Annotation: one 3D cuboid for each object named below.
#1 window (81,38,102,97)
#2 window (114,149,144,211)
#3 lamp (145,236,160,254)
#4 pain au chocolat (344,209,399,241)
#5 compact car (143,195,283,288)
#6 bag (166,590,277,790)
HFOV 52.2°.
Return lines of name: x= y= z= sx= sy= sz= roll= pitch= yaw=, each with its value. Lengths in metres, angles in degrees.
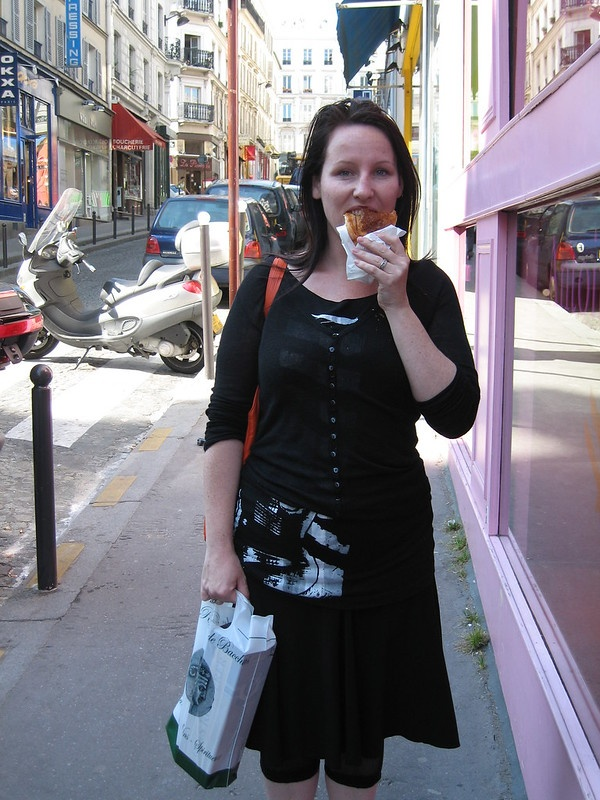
window: x=-11.488 y=-18.401 z=33.754 sx=0.314 sy=2.264 sz=2.395 roll=-12 pitch=33 yaw=-32
window: x=-11.873 y=-14.654 z=42.333 sx=1.436 sy=3.888 sz=4.112 roll=6 pitch=18 yaw=2
lamp: x=-2.950 y=-3.120 z=12.411 sx=0.228 sy=0.195 sz=0.385 roll=-1 pitch=9 yaw=-10
pain au chocolat: x=0.121 y=-0.299 z=1.053 sx=0.069 sy=0.075 sz=0.024 roll=3 pitch=-3 yaw=-16
compact car: x=-1.811 y=-3.670 z=14.472 sx=2.473 sy=2.460 sz=4.884 roll=2 pitch=19 yaw=6
bag: x=-0.130 y=0.489 z=1.037 sx=0.130 sy=0.285 sz=0.161 roll=-8 pitch=11 yaw=-41
